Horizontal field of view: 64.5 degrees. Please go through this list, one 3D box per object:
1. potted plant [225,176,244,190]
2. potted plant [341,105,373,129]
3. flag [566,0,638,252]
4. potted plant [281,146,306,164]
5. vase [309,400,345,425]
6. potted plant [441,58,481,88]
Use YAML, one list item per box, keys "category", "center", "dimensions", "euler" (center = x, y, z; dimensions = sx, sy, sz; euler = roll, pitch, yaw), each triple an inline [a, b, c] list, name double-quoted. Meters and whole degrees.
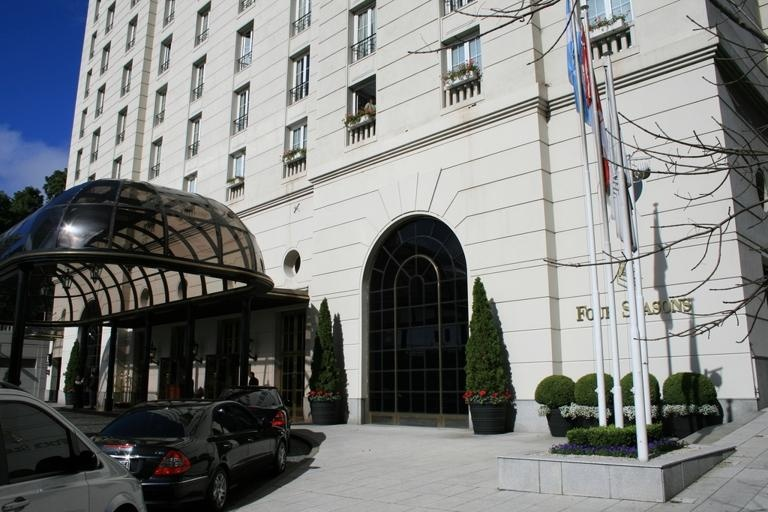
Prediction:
- category: "potted plant"
  center: [-8.062, -4.031, 33.229]
  dimensions: [0.706, 0.247, 0.764]
  euler: [-6, -8, 29]
- category: "potted plant"
  center: [-1.038, -6.236, 27.223]
  dimensions: [1.568, 1.048, 0.362]
  euler: [-6, 0, 21]
- category: "flag"
  center: [5.265, -3.370, 14.987]
  dimensions: [1.044, 6.113, 2.334]
  euler: [-6, 0, 17]
- category: "potted plant"
  center: [-4.387, -4.976, 30.205]
  dimensions: [0.864, 0.322, 0.866]
  euler: [-8, -10, 27]
- category: "vase"
  center: [-2.372, 6.515, 25.428]
  dimensions: [1.211, 0.733, 1.102]
  euler: [-1, -17, 3]
- category: "potted plant"
  center: [3.004, -7.142, 24.113]
  dimensions: [0.955, 0.461, 1.363]
  euler: [-18, 9, -25]
